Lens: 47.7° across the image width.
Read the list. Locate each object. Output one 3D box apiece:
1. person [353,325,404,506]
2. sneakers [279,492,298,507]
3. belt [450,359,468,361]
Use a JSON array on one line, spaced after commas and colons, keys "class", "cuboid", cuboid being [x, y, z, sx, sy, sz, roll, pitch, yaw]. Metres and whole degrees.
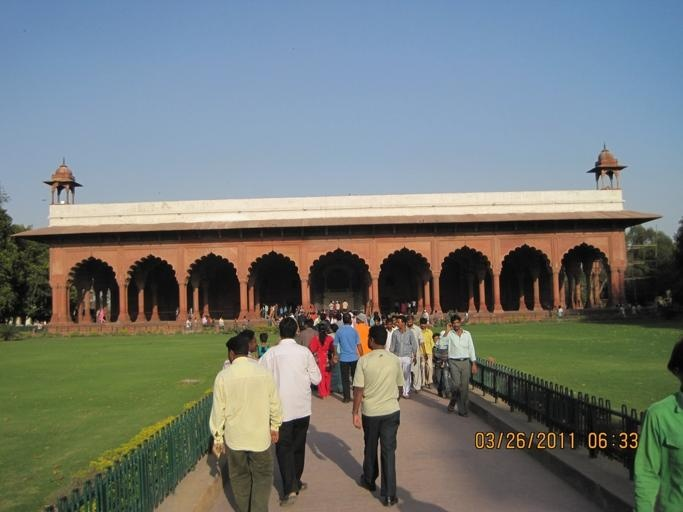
[{"class": "person", "cuboid": [0.495, 2.086, 10.348, 0.672, 2.253, 0.880, -2, 2, 4]}, {"class": "sneakers", "cuboid": [-0.688, 3.185, 10.118, 0.252, 0.117, 0.105, -25, 28, -2]}, {"class": "belt", "cuboid": [1.993, 1.745, 13.076, 0.302, 0.039, 0.058, -2, 2, 11]}]
